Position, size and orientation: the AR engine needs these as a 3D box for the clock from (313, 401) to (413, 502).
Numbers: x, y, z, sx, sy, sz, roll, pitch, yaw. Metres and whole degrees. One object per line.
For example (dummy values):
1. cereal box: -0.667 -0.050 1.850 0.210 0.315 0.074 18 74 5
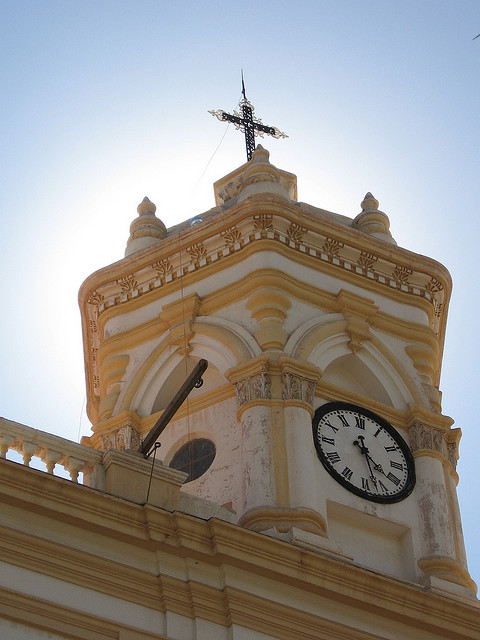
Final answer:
1. clock: 1.655 1.945 28.050 1.369 1.395 0.099 20 -53 -34
